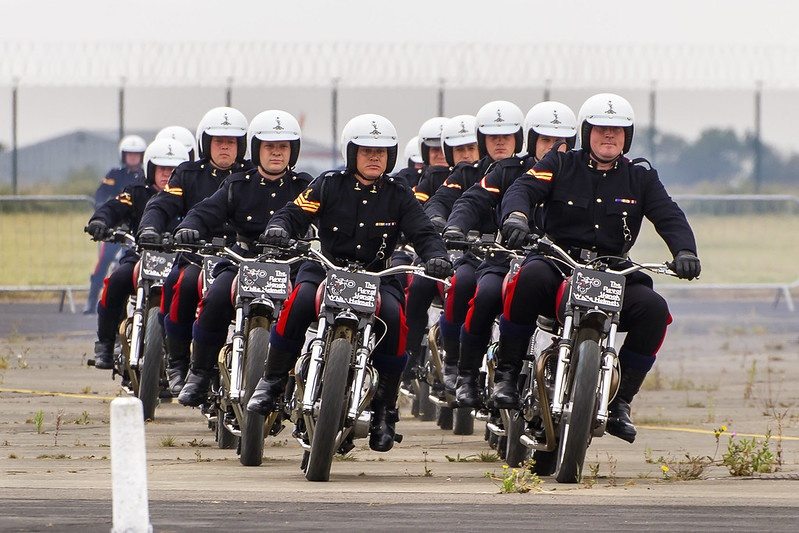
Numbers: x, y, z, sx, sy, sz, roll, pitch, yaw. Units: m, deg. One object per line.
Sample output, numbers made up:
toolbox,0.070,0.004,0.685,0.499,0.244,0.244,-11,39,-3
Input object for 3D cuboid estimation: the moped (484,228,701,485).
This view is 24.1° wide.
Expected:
moped,1.910,1.029,20.793,1.642,2.748,0.891,3,2,44

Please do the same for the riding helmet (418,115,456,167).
riding helmet,0.481,-1.743,26.130,0.592,0.671,0.644,1,11,11

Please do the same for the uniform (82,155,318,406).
uniform,-2.686,-0.066,24.812,2.471,2.445,3.843,8,0,-12

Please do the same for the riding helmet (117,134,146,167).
riding helmet,-4.576,-2.037,32.133,0.525,0.564,0.698,0,-8,-6

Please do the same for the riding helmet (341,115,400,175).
riding helmet,-0.386,-1.463,21.639,0.559,0.582,0.724,0,7,-8

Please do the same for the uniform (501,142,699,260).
uniform,2.141,-0.300,21.517,1.959,1.116,1.168,12,-7,-1

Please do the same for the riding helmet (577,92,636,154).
riding helmet,2.338,-1.690,21.542,0.563,0.672,0.711,2,2,-2

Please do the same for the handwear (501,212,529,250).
handwear,1.246,-0.399,20.765,0.291,0.380,0.164,3,-10,-3

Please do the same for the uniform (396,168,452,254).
uniform,0.352,-1.037,24.939,0.631,0.738,1.214,1,-30,-9
